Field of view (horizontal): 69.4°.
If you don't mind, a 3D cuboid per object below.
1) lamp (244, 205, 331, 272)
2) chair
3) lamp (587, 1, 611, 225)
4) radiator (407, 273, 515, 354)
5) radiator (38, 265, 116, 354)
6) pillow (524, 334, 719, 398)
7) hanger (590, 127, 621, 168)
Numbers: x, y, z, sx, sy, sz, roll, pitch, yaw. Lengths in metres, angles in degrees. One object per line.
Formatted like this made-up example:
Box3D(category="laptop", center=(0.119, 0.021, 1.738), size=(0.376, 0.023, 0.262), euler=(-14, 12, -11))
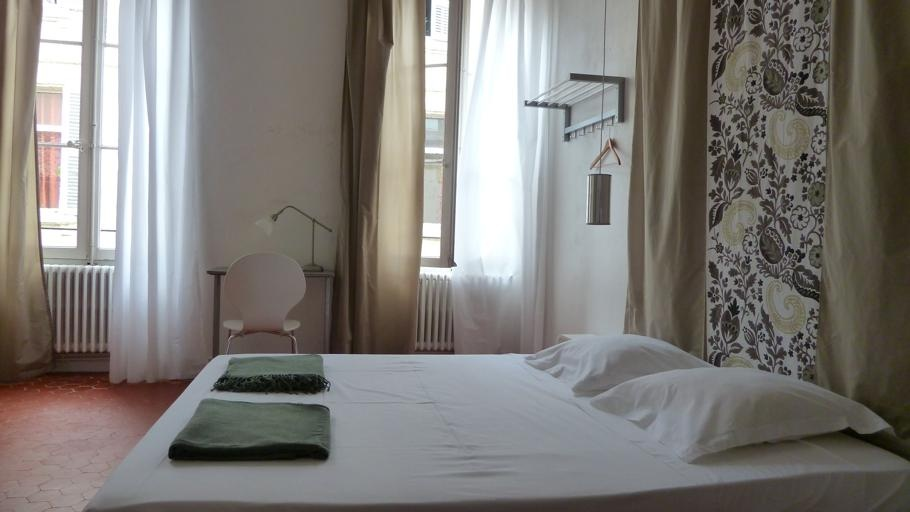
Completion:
Box3D(category="lamp", center=(-1.434, -0.145, 5.934), size=(0.680, 0.610, 0.239), euler=(-3, 21, -15))
Box3D(category="chair", center=(-1.591, 0.513, 5.477), size=(0.657, 1.129, 0.685), euler=(3, 1, -19))
Box3D(category="lamp", center=(1.095, -1.134, 5.001), size=(0.166, 1.799, 0.753), euler=(0, 4, 14))
Box3D(category="radiator", center=(0.083, 0.511, 6.072), size=(0.539, 0.738, 0.214), euler=(2, 2, -5))
Box3D(category="radiator", center=(-3.238, 0.462, 5.669), size=(0.726, 0.725, 0.182), euler=(-7, 9, -22))
Box3D(category="pillow", center=(1.013, 0.646, 4.060), size=(0.564, 0.160, 0.529), euler=(-6, 1, -19))
Box3D(category="hanger", center=(1.206, -0.809, 5.188), size=(0.025, 0.237, 0.357), euler=(18, -8, -27))
